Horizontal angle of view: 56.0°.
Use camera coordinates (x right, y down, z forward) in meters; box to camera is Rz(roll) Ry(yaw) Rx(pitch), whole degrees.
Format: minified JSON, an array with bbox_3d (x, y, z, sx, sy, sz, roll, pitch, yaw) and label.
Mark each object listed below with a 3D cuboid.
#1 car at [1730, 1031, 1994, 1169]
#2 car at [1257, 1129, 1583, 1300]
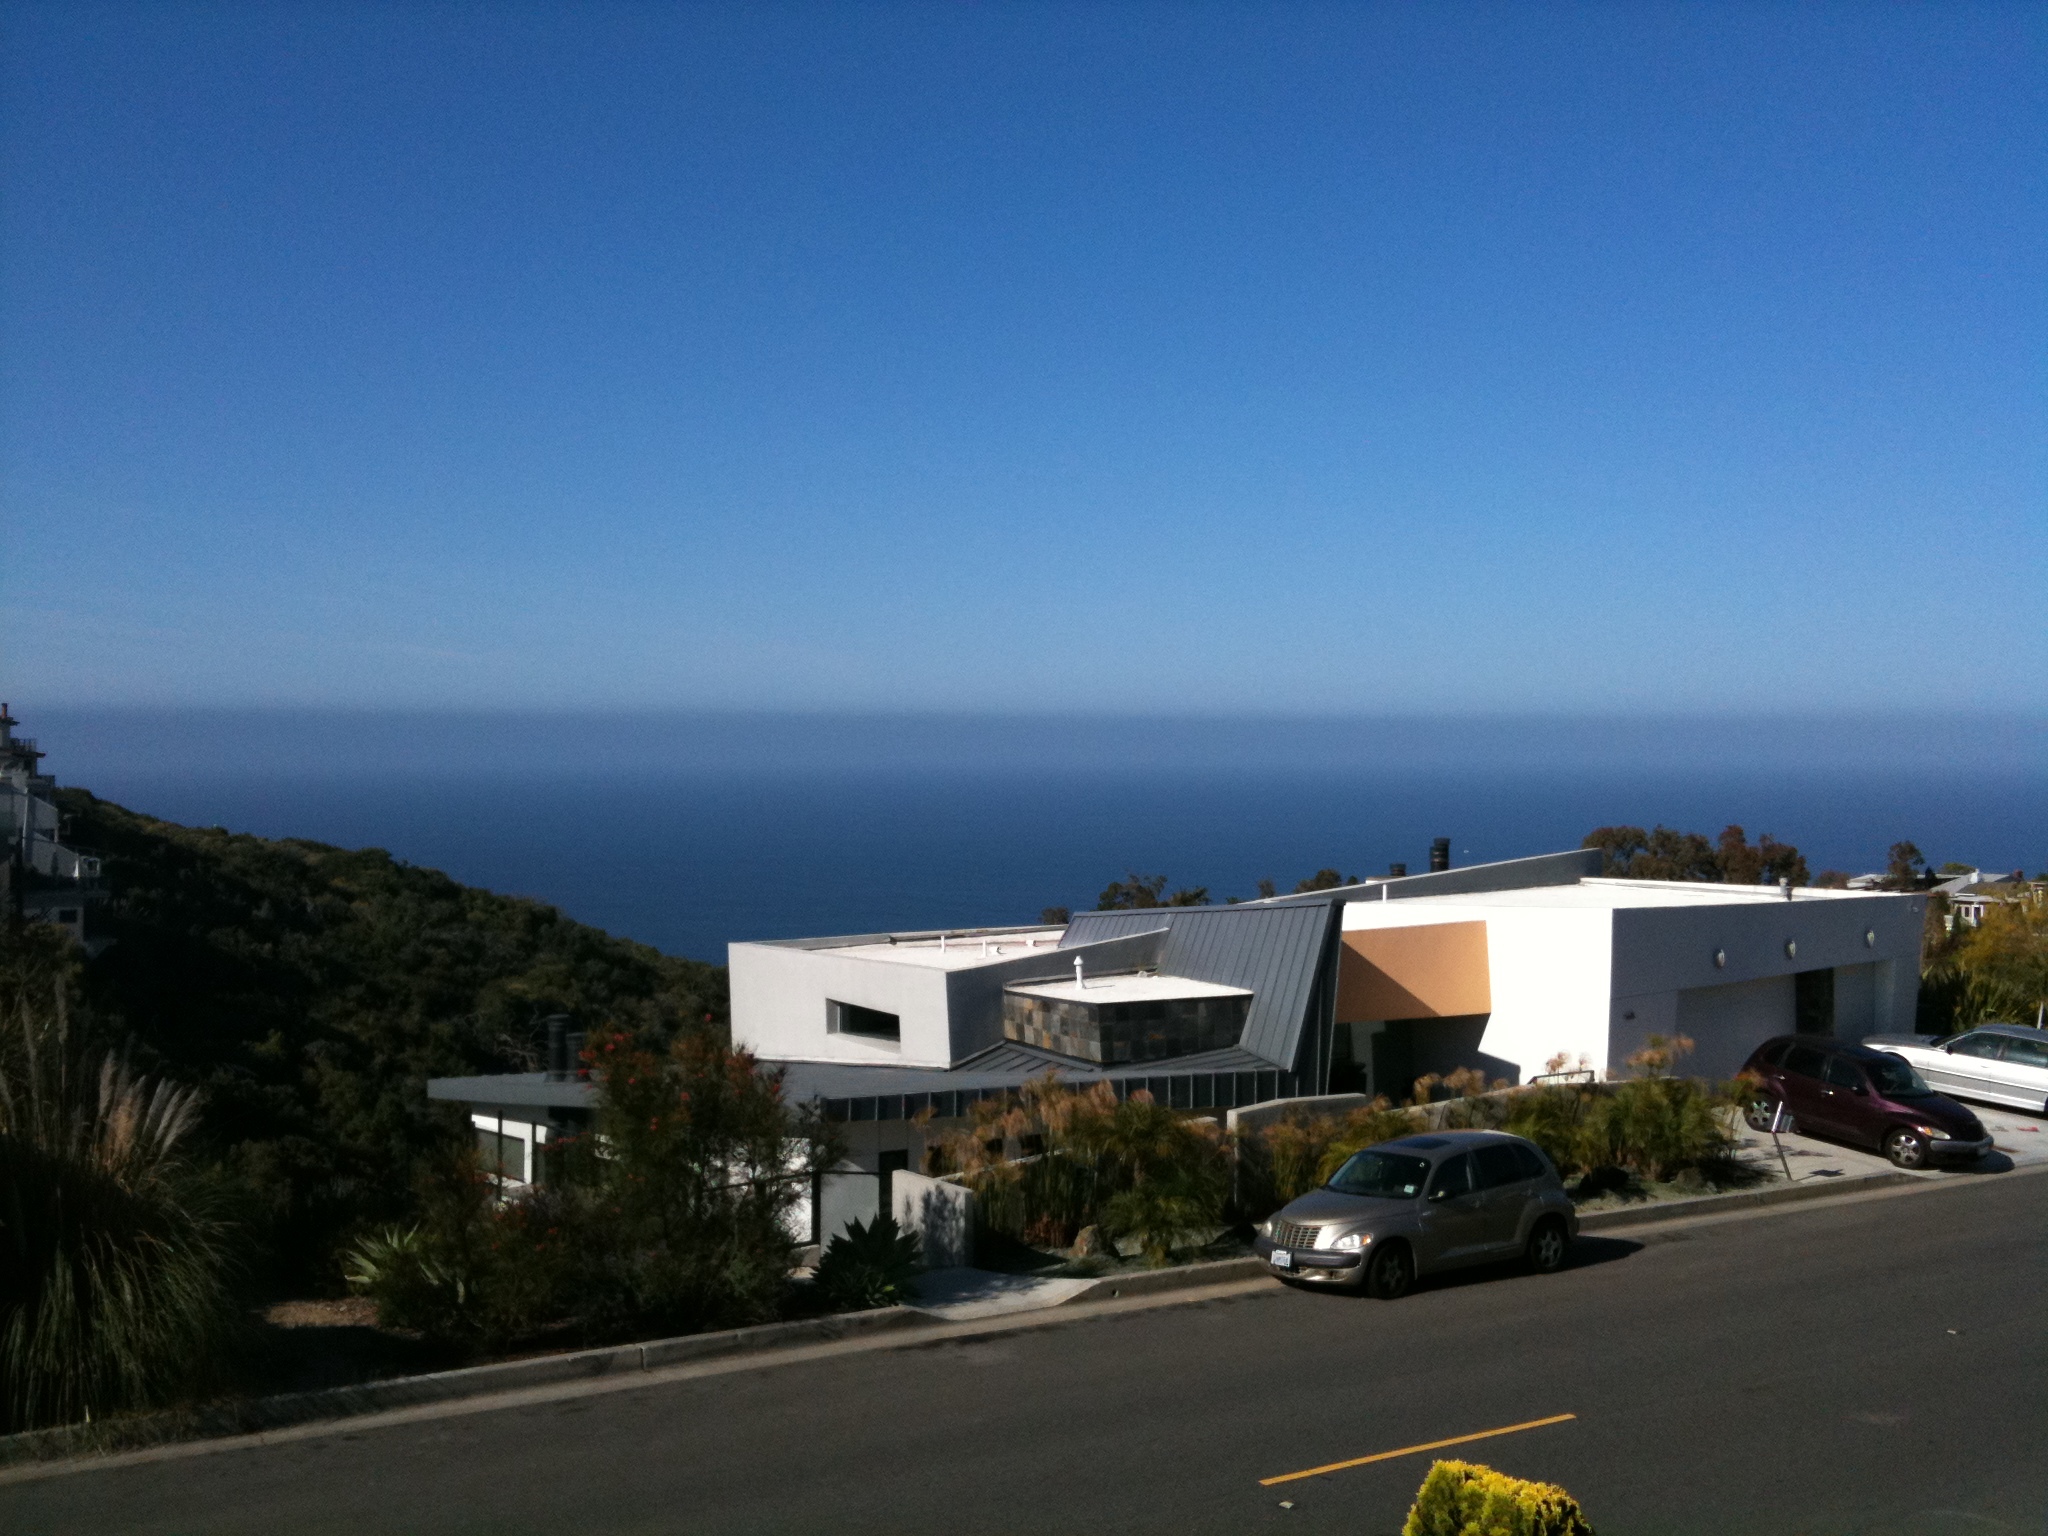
[{"bbox_3d":[12.301,4.985,28.997,1.790,1.471,4.056,1,-4,-28],"label":"car"},{"bbox_3d":[4.396,5.150,21.934,2.888,1.372,1.685,1,-5,-28],"label":"car"}]
